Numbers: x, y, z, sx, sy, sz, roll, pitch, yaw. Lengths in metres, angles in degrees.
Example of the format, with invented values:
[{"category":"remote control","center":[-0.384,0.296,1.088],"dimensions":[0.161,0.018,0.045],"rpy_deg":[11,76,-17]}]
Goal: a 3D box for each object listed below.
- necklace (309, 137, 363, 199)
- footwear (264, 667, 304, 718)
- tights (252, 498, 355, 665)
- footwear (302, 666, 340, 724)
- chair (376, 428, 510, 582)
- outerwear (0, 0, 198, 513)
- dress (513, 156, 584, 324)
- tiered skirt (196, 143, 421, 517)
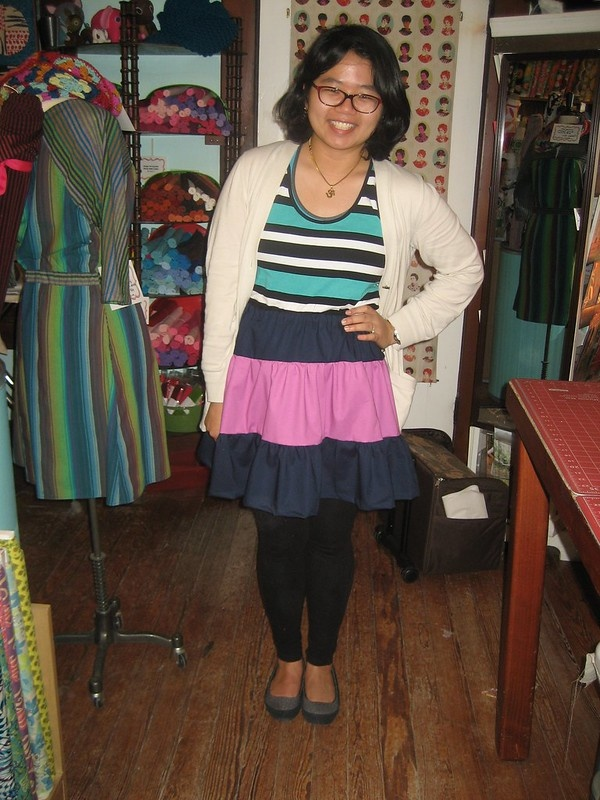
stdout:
[{"category":"necklace","center":[0.069,-0.446,1.160],"dimensions":[0.103,0.112,0.074],"rpy_deg":[2,12,-2]},{"category":"footwear","center":[-0.037,0.751,1.551],"dimensions":[0.092,0.045,0.196],"rpy_deg":[4,10,2]},{"category":"tights","center":[0.021,0.386,1.370],"dimensions":[0.236,0.533,0.179],"rpy_deg":[1,15,3]},{"category":"footwear","center":[0.056,0.747,1.521],"dimensions":[0.065,0.046,0.127],"rpy_deg":[1,26,1]},{"category":"chair","center":[0.583,0.446,2.433],"dimensions":[0.462,0.426,0.574],"rpy_deg":[-2,12,-17]},{"category":"outerwear","center":[-0.526,-0.221,1.485],"dimensions":[0.381,0.981,0.200],"rpy_deg":[-2,13,-18]},{"category":"dress","center":[0.987,-0.632,2.401],"dimensions":[0.248,0.664,0.154],"rpy_deg":[9,14,30]},{"category":"tiered skirt","center":[0.039,-0.124,1.163],"dimensions":[0.415,0.692,0.176],"rpy_deg":[4,12,11]}]
